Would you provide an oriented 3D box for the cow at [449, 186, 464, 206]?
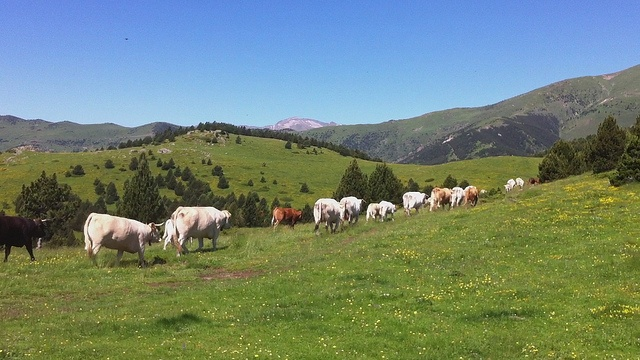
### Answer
[{"bbox_3d":[17.708,2.261,57.412,1.067,2.572,2.763,-7,-5,39],"label":"cow"}]

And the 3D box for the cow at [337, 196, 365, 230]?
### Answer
[{"bbox_3d":[3.763,3.916,50.119,1.382,2.369,4.738,-8,-4,29],"label":"cow"}]

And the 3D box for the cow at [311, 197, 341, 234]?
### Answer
[{"bbox_3d":[0.859,3.800,47.064,2.419,3.615,3.078,-5,-4,21],"label":"cow"}]
